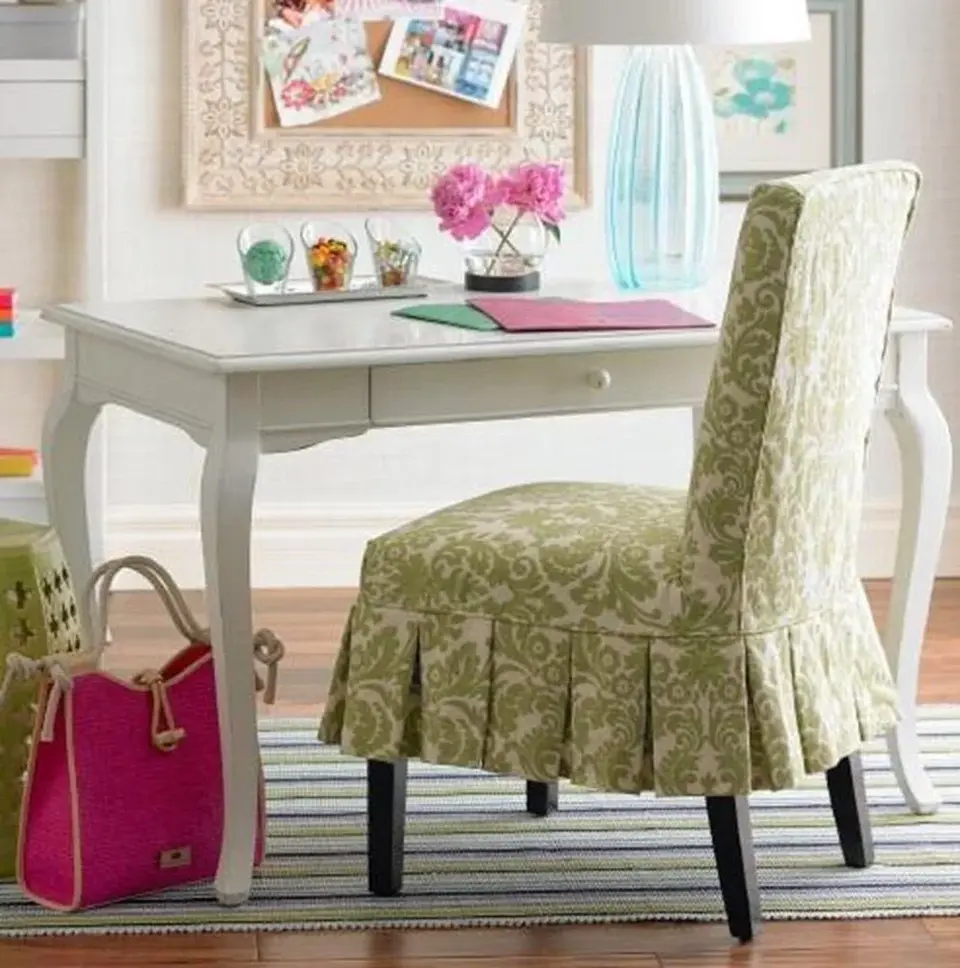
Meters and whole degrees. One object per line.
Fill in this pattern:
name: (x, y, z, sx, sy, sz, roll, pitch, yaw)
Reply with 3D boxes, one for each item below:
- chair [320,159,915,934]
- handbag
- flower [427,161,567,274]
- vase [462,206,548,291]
chair: (0.153, 0.089, 1.269, 0.509, 0.806, 0.556, 3, -4, 18)
handbag: (-0.418, 0.318, 1.203, 0.378, 0.458, 0.135, -4, 5, -44)
flower: (0.039, -0.432, 1.661, 0.173, 0.139, 0.177, -2, 5, -8)
vase: (0.045, -0.414, 1.705, 0.134, 0.143, 0.141, 6, 21, 10)
